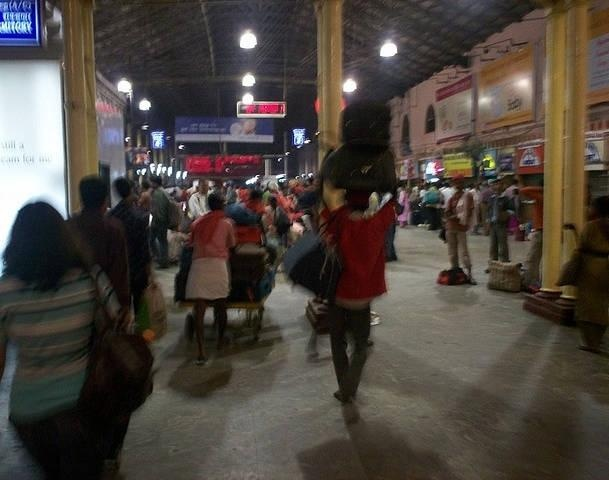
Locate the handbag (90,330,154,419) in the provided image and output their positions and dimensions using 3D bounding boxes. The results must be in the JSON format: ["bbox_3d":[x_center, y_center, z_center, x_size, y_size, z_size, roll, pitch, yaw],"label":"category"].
[{"bbox_3d":[-0.929,0.626,2.432,0.294,0.552,0.376,8,29,-26],"label":"handbag"}]

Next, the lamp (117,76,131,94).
[{"bbox_3d":[-5.286,-4.513,13.687,0.281,0.506,1.170,-3,7,-16],"label":"lamp"}]

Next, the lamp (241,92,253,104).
[{"bbox_3d":[-2.124,-5.306,17.523,0.392,0.465,0.748,-1,7,-1],"label":"lamp"}]

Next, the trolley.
[{"bbox_3d":[-0.849,0.552,5.611,0.751,1.410,1.459,2,6,-1],"label":"trolley"}]

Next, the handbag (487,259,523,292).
[{"bbox_3d":[3.545,0.597,8.338,0.544,0.548,0.304,9,13,42],"label":"handbag"}]

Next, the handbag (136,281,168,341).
[{"bbox_3d":[-1.687,0.784,5.145,0.359,0.797,0.268,19,-43,-36],"label":"handbag"}]
